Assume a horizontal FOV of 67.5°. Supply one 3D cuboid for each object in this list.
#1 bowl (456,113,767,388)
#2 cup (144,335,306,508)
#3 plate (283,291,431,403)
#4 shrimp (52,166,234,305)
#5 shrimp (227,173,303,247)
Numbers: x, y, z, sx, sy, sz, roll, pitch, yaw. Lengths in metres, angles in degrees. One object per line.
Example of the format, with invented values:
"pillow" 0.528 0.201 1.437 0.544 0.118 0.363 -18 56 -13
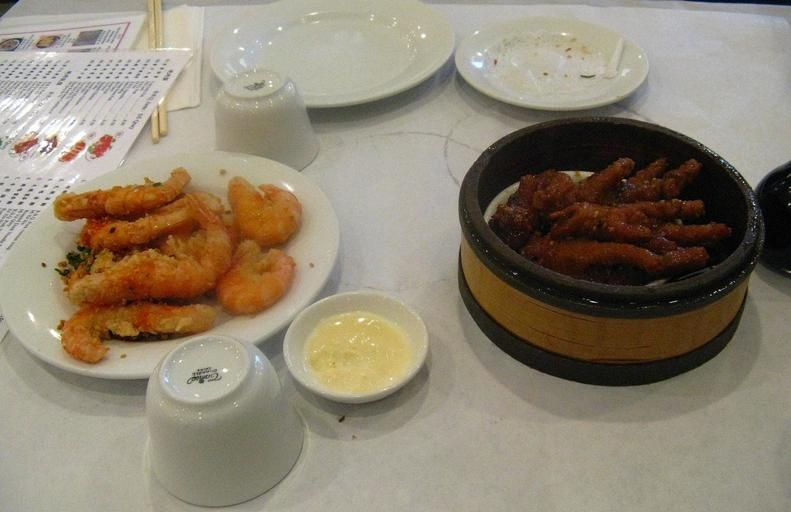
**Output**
"bowl" 0.452 -0.022 1.333 0.621 0.261 0.562 0 57 4
"cup" -0.327 0.314 1.279 0.321 0.261 0.333 1 42 -1
"plate" -0.094 0.200 1.280 0.303 0.074 0.298 2 41 1
"shrimp" -0.599 -0.078 1.478 0.416 0.288 0.388 -12 25 -30
"shrimp" -0.314 -0.128 1.524 0.188 0.160 0.170 25 36 37
